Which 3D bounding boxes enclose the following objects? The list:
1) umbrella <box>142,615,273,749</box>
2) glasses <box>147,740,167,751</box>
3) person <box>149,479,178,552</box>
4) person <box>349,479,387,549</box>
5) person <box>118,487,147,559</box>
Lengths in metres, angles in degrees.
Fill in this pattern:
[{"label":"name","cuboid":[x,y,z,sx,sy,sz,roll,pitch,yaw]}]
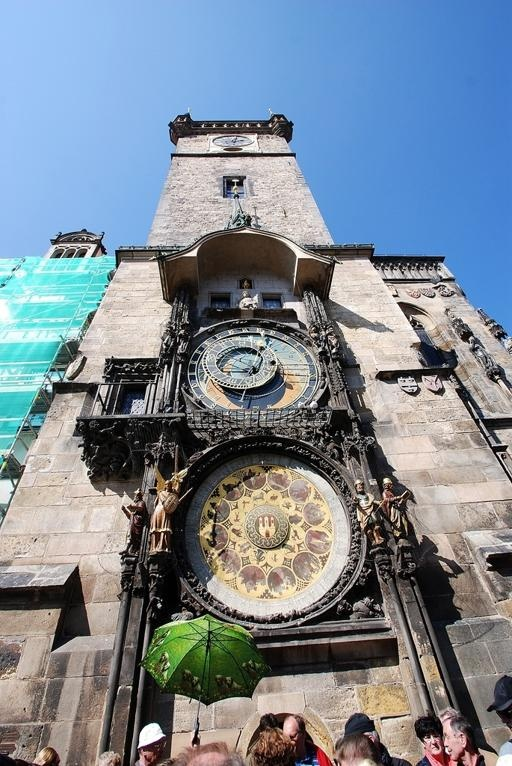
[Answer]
[{"label":"umbrella","cuboid":[-0.703,3.353,6.239,1.587,1.463,1.498,12,-68,-7]},{"label":"glasses","cuboid":[-0.970,3.435,4.633,0.123,0.036,0.125,36,-77,-28]},{"label":"person","cuboid":[-1.614,2.367,8.495,0.469,1.459,0.375,3,-46,-13]},{"label":"person","cuboid":[2.055,2.404,8.964,0.455,1.382,0.577,-19,-45,8]},{"label":"person","cuboid":[-2.147,2.370,8.521,0.430,1.273,0.380,13,-49,-22]}]
